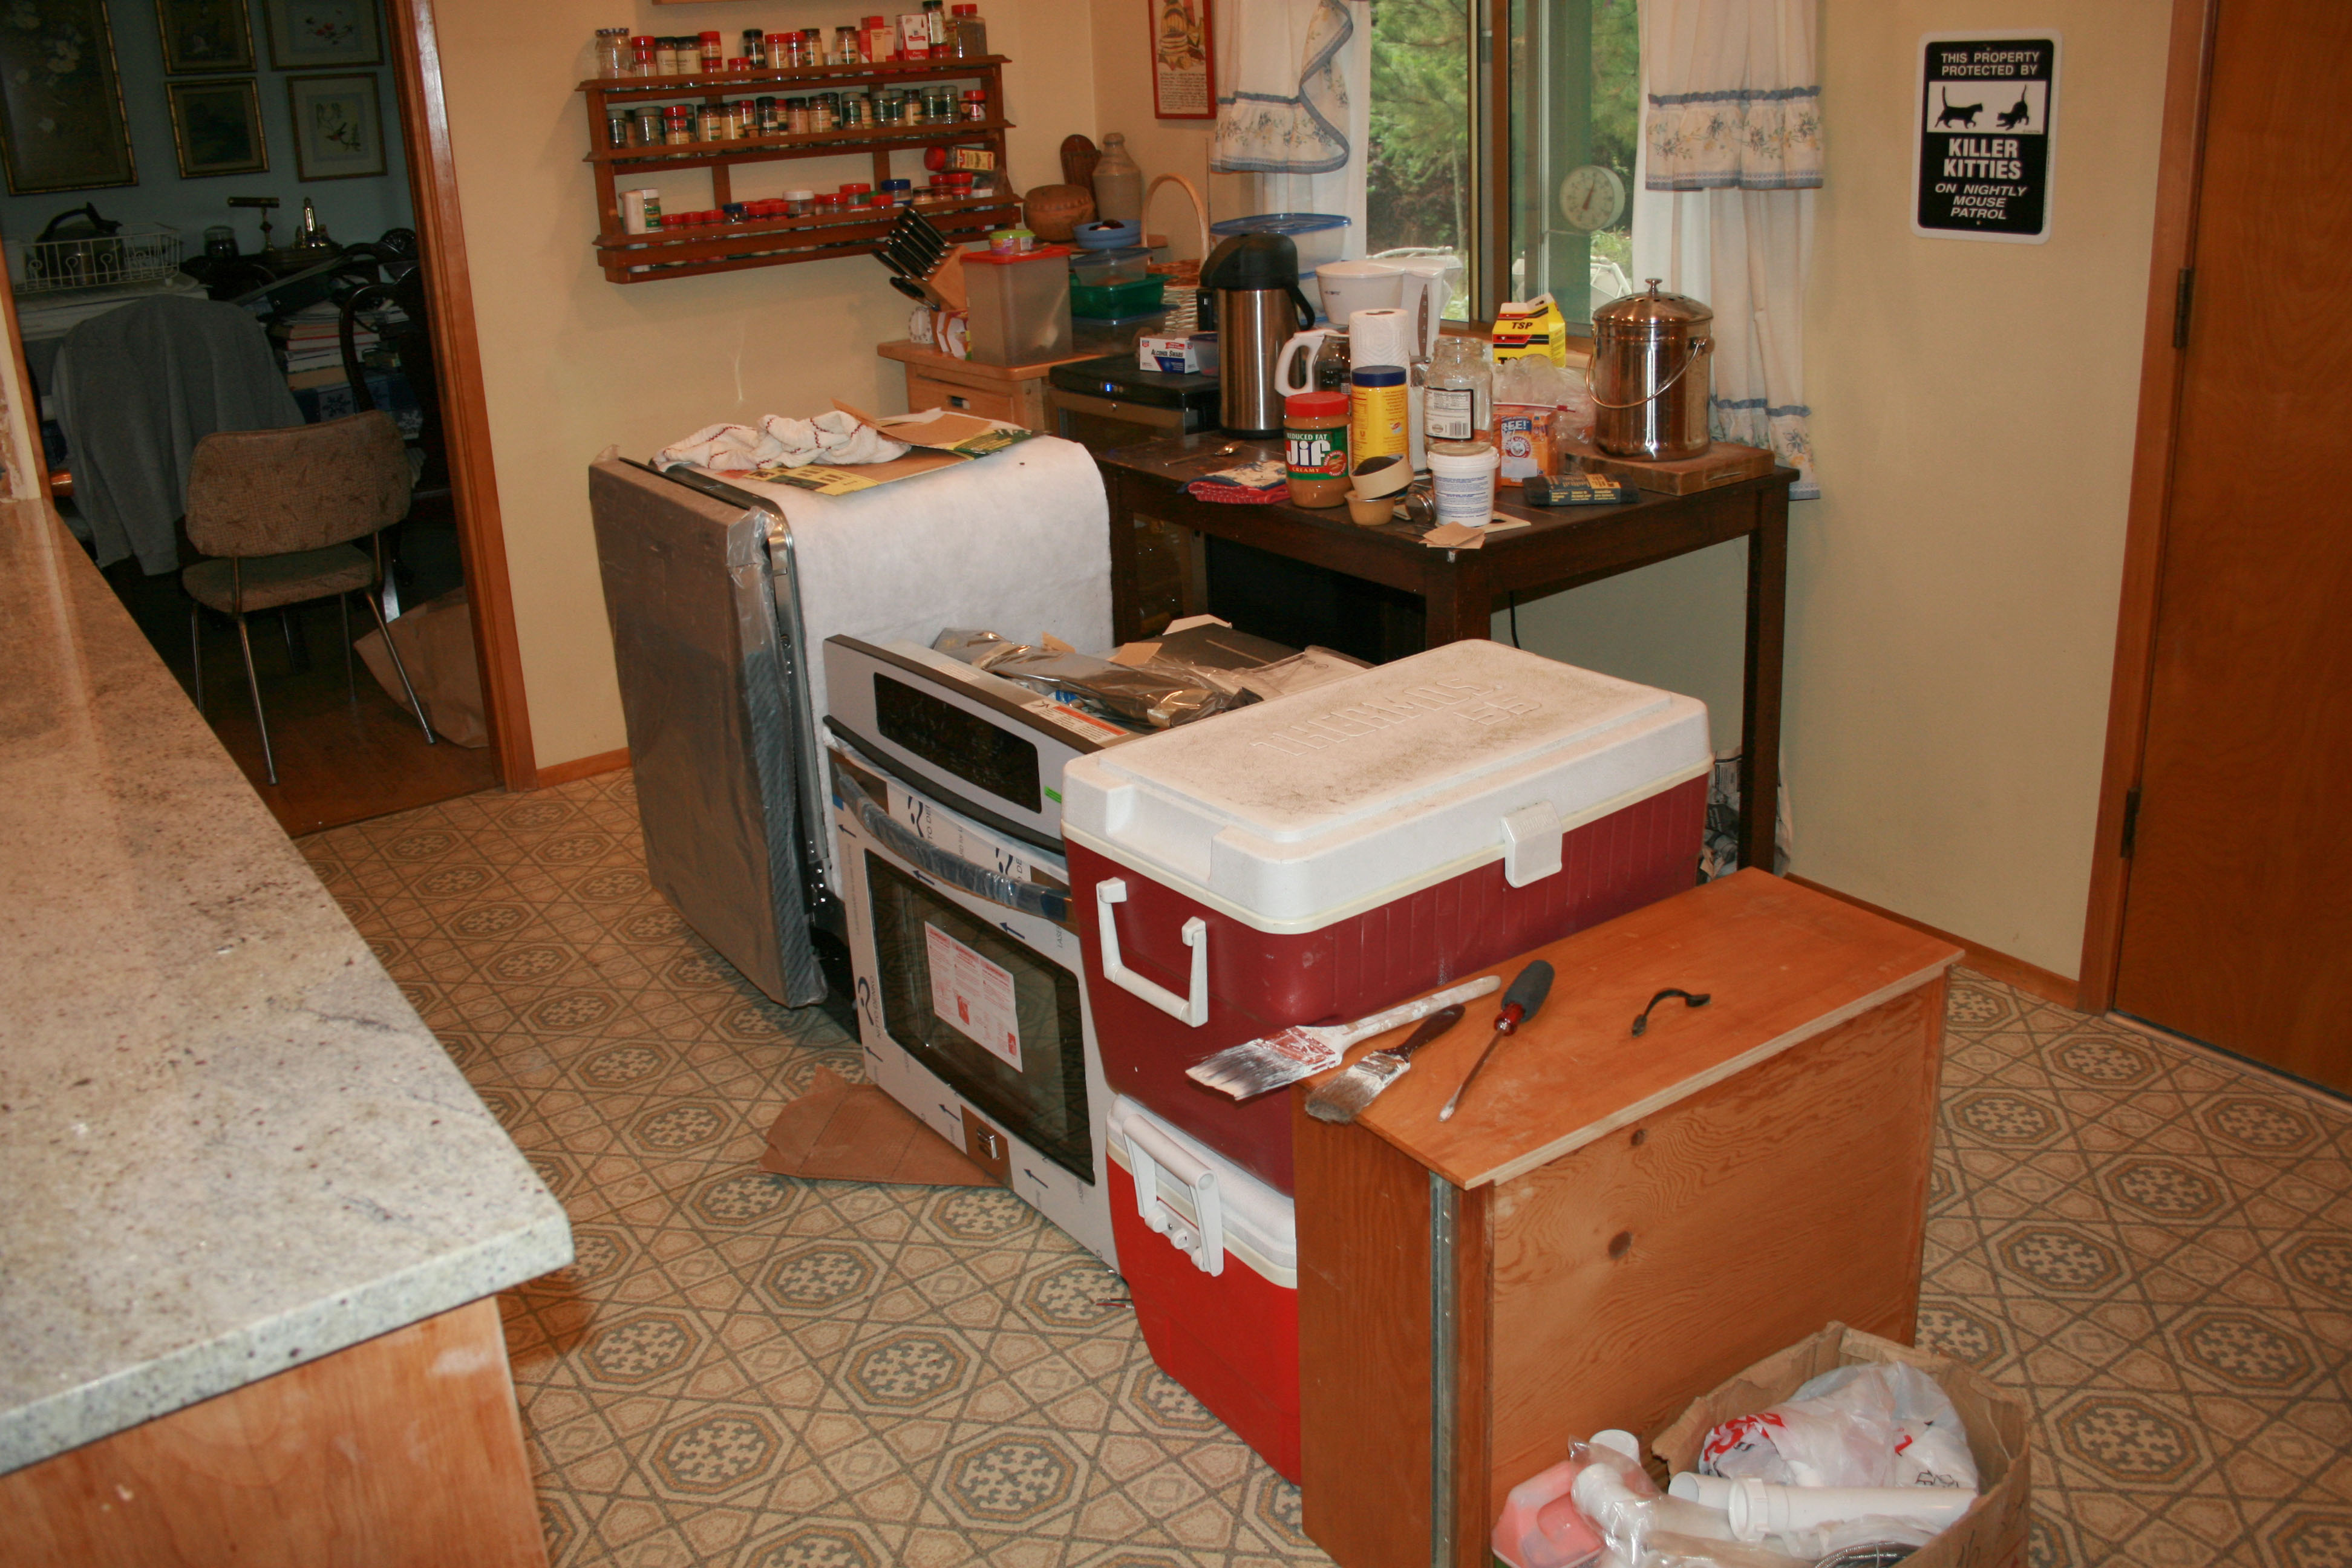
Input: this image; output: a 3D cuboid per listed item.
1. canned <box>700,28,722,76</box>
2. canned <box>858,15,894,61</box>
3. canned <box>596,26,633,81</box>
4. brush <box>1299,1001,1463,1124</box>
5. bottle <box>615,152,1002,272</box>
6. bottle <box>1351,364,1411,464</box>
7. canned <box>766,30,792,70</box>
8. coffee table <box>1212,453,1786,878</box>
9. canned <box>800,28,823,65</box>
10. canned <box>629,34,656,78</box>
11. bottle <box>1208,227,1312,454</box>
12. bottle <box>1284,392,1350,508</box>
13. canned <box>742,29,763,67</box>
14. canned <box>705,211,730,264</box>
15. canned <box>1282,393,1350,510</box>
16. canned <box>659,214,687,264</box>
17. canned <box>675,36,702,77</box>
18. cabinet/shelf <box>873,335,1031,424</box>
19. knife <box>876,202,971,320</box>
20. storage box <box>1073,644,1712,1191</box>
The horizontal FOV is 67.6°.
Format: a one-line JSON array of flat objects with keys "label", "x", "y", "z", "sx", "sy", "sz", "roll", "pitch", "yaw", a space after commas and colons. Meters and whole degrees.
[{"label": "canned", "x": -1.294, "y": -2.048, "z": 4.885, "sx": 0.069, "sy": 0.105, "sz": 0.160, "roll": -8, "pitch": 25, "yaw": -12}, {"label": "canned", "x": -0.880, "y": -2.172, "z": 5.101, "sx": 0.096, "sy": 0.168, "sz": 0.102, "roll": 5, "pitch": 31, "yaw": 8}, {"label": "canned", "x": -1.497, "y": -1.950, "z": 4.680, "sx": 0.099, "sy": 0.123, "sz": 0.101, "roll": -10, "pitch": 25, "yaw": -16}, {"label": "brush", "x": 0.261, "y": 0.329, "z": 2.326, "sx": 0.217, "sy": 0.113, "sz": 0.245, "roll": 13, "pitch": 21, "yaw": 31}, {"label": "bottle", "x": -1.097, "y": -1.634, "z": 5.005, "sx": 0.504, "sy": 0.111, "sz": 0.080, "roll": -19, "pitch": 24, "yaw": -27}, {"label": "bottle", "x": 0.438, "y": -0.811, "z": 3.787, "sx": 0.123, "sy": 0.195, "sz": 0.121, "roll": -3, "pitch": 29, "yaw": 2}, {"label": "canned", "x": -1.120, "y": -2.063, "z": 4.931, "sx": 0.074, "sy": 0.089, "sz": 0.076, "roll": -7, "pitch": 24, "yaw": -10}, {"label": "coffee table", "x": 0.764, "y": -0.320, "z": 4.127, "sx": 1.106, "sy": 1.081, "sz": 1.009, "roll": -17, "pitch": 26, "yaw": -34}, {"label": "canned", "x": -1.041, "y": -2.112, "z": 5.016, "sx": 0.065, "sy": 0.092, "sz": 0.159, "roll": -6, "pitch": 24, "yaw": -8}, {"label": "canned", "x": -1.434, "y": -1.964, "z": 4.723, "sx": 0.048, "sy": 0.097, "sz": 0.065, "roll": 6, "pitch": 25, "yaw": 19}, {"label": "bottle", "x": 0.192, "y": -1.085, "z": 4.261, "sx": 0.260, "sy": 0.462, "sz": 0.216, "roll": -13, "pitch": 21, "yaw": -35}, {"label": "bottle", "x": 0.313, "y": -0.732, "z": 3.823, "sx": 0.153, "sy": 0.215, "sz": 0.151, "roll": -2, "pitch": 17, "yaw": 0}, {"label": "canned", "x": -1.182, "y": -2.055, "z": 4.905, "sx": 0.056, "sy": 0.095, "sz": 0.096, "roll": -6, "pitch": 24, "yaw": -8}, {"label": "canned", "x": -1.296, "y": -1.531, "z": 4.898, "sx": 0.082, "sy": 0.126, "sz": 0.130, "roll": 2, "pitch": 5, "yaw": -3}, {"label": "canned", "x": 0.308, "y": -0.724, "z": 3.782, "sx": 0.141, "sy": 0.227, "sz": 0.124, "roll": -1, "pitch": 24, "yaw": 3}, {"label": "canned", "x": -1.380, "y": -1.509, "z": 4.858, "sx": 0.093, "sy": 0.131, "sz": 0.140, "roll": -5, "pitch": 24, "yaw": -5}, {"label": "canned", "x": -1.333, "y": -1.999, "z": 4.799, "sx": 0.030, "sy": 0.093, "sz": 0.078, "roll": 9, "pitch": 27, "yaw": 25}, {"label": "cabinet/shelf", "x": -0.630, "y": -1.178, "z": 5.115, "sx": 0.168, "sy": 0.192, "sz": 0.717, "roll": -19, "pitch": 29, "yaw": -32}, {"label": "knife", "x": -0.695, "y": -1.463, "z": 4.942, "sx": 0.195, "sy": 0.353, "sz": 0.114, "roll": -43, "pitch": 10, "yaw": -4}, {"label": "storage box", "x": 0.344, "y": 0.101, "z": 2.757, "sx": 0.943, "sy": 0.557, "sz": 0.644, "roll": -23, "pitch": 32, "yaw": -31}]
